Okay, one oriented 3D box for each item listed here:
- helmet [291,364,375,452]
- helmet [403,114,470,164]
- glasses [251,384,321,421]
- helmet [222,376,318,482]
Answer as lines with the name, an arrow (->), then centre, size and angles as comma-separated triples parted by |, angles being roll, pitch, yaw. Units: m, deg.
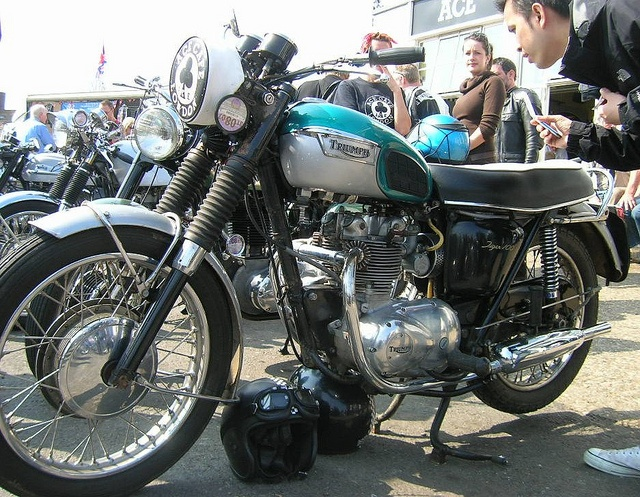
helmet -> 0.006, 0.761, 2.445 | 0.405, 0.308, 0.327 | 10, -7, -8
helmet -> 0.674, -0.611, 2.834 | 0.342, 0.241, 0.268 | 17, 24, 16
glasses -> -0.141, 0.656, 2.181 | 0.157, 0.094, 0.199 | 21, -24, -30
helmet -> -0.246, 0.796, 2.328 | 0.371, 0.351, 0.425 | 5, -3, -25
